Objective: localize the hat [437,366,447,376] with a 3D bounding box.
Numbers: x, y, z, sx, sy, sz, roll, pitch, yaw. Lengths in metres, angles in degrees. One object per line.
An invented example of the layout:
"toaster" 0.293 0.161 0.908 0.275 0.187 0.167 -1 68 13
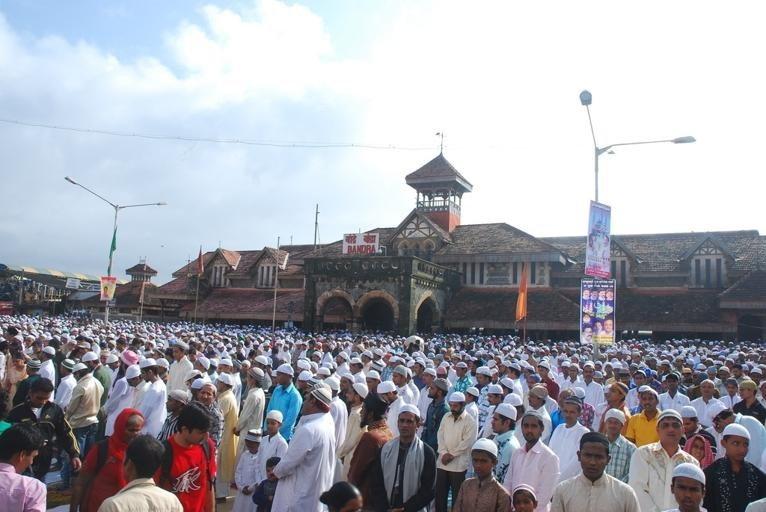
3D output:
"hat" 1.397 2.725 16.566 0.230 0.272 0.305 0 -8 12

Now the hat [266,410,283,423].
"hat" -1.944 2.883 12.640 0.249 0.151 0.249 14 -8 -1

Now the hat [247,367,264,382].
"hat" -2.612 2.413 14.395 0.269 0.318 0.176 -7 -15 -42

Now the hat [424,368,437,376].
"hat" 1.060 2.596 15.705 0.259 0.177 0.343 3 -8 4

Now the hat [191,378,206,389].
"hat" -3.401 2.349 12.908 0.242 0.181 0.336 6 -9 -15

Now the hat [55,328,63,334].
"hat" -11.953 2.756 25.751 0.415 0.213 0.583 -1 -8 -26

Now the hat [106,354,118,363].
"hat" -6.332 2.404 16.430 0.192 0.108 0.207 -3 -5 31

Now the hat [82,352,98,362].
"hat" -6.649 2.288 15.857 0.318 0.225 0.381 7 -9 -20

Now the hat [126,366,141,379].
"hat" -4.868 2.263 13.660 0.264 0.282 0.276 8 -9 -24

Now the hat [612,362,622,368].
"hat" 6.217 2.891 18.533 0.283 0.130 0.390 -1 -10 21

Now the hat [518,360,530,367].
"hat" 3.738 2.858 18.602 0.359 0.106 0.354 1 1 -35

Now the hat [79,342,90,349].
"hat" -7.970 2.373 18.636 0.251 0.129 0.191 21 -9 -25

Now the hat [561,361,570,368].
"hat" 5.093 2.996 19.417 0.327 0.161 0.459 0 -9 15

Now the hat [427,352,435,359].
"hat" 1.516 3.084 21.772 0.280 0.204 0.394 1 -12 3

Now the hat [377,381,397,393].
"hat" 0.078 2.417 12.957 0.286 0.150 0.187 -6 4 -26

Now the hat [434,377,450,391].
"hat" 1.217 2.536 13.797 0.268 0.214 0.402 -3 -11 39

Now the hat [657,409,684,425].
"hat" 4.655 2.626 11.445 0.284 0.150 0.387 11 -11 6

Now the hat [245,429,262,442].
"hat" -2.340 3.223 12.587 0.283 0.103 0.232 3 -8 21

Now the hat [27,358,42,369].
"hat" -6.897 2.135 13.855 0.179 0.162 0.202 21 -18 4

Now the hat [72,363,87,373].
"hat" -6.388 2.355 14.754 0.265 0.212 0.210 8 -9 -25

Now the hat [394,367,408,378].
"hat" 0.404 2.596 15.909 0.314 0.242 0.453 4 -8 2

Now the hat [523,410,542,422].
"hat" 2.486 2.661 11.697 0.294 0.168 0.352 2 -9 14

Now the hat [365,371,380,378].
"hat" -0.229 2.424 14.409 0.227 0.125 0.225 7 -4 -22

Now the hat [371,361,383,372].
"hat" -0.145 2.948 18.682 0.242 0.237 0.309 20 0 -16

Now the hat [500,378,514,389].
"hat" 2.578 2.721 14.651 0.236 0.083 0.262 32 31 17

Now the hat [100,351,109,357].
"hat" -7.131 2.490 17.916 0.181 0.112 0.182 -1 -5 23

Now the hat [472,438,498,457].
"hat" 1.610 2.928 10.732 0.307 0.202 0.315 -4 -28 32

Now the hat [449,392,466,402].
"hat" 1.372 2.622 13.055 0.217 0.119 0.216 3 -12 -9

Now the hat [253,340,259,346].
"hat" -4.616 3.165 25.465 0.280 0.144 0.394 3 -9 -8

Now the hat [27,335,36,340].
"hat" -10.960 2.524 21.781 0.198 0.205 0.247 0 -16 -6

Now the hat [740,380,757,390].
"hat" 7.423 2.605 14.201 0.271 0.191 0.328 0 -9 27

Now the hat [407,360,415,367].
"hat" 0.736 2.870 18.706 0.192 0.208 0.270 9 -17 -43

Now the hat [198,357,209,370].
"hat" -4.143 2.469 16.197 0.232 0.271 0.254 11 -42 -40

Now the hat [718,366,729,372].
"hat" 8.868 2.925 18.151 0.282 0.127 0.403 -5 -14 40

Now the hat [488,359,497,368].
"hat" 3.002 2.939 19.274 0.238 0.155 0.289 0 -13 2

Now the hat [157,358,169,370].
"hat" -4.475 2.187 14.252 0.243 0.127 0.172 16 -2 -2

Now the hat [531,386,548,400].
"hat" 3.049 2.621 13.513 0.302 0.235 0.226 20 5 38

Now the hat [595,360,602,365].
"hat" 6.502 3.218 20.999 0.228 0.074 0.230 -1 -4 21

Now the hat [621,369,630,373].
"hat" 5.567 2.635 16.068 0.198 0.147 0.202 -2 -6 15

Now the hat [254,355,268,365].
"hat" -3.001 2.547 17.176 0.256 0.106 0.264 13 0 34

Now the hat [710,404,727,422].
"hat" 6.082 2.832 12.660 0.165 0.316 0.226 43 -29 0

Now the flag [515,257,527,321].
"flag" 6.261 1.540 31.401 0.306 2.798 0.654 2 5 -12

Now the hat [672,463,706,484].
"hat" 4.346 3.046 9.993 0.346 0.210 0.344 11 -12 -6

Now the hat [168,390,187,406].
"hat" -3.456 2.372 11.832 0.299 0.167 0.298 3 0 -24

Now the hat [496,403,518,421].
"hat" 2.169 2.720 12.290 0.299 0.185 0.303 10 -5 35

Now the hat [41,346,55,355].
"hat" -7.950 2.288 16.660 0.310 0.102 0.282 21 -9 -5

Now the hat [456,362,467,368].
"hat" 1.910 2.610 16.785 0.185 0.066 0.185 2 -5 -1

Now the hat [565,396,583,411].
"hat" 3.421 2.639 12.552 0.293 0.243 0.171 4 -8 3

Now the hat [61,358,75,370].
"hat" -6.674 2.330 14.917 0.282 0.084 0.254 11 -4 1

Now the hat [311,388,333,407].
"hat" -0.995 2.340 11.540 0.208 0.323 0.375 -1 -10 34

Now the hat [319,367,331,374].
"hat" -1.310 2.589 15.790 0.186 0.097 0.185 17 -5 -2

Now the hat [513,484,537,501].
"hat" 2.136 3.543 10.514 0.274 0.180 0.367 -1 -10 29

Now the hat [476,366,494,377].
"hat" 2.300 2.578 15.703 0.318 0.174 0.225 11 -11 -2

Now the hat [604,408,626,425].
"hat" 4.036 2.779 12.081 0.299 0.185 0.302 3 -13 29

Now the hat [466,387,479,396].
"hat" 1.875 2.798 14.504 0.214 0.126 0.215 13 -5 7

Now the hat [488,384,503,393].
"hat" 2.237 2.639 13.893 0.200 0.117 0.200 9 -4 7

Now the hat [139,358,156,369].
"hat" -4.605 2.097 13.718 0.212 0.106 0.210 -4 1 -28

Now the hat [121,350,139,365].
"hat" -5.477 2.152 15.084 0.317 0.162 0.422 9 -3 -40

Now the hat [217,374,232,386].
"hat" -3.173 2.469 14.081 0.235 0.071 0.259 23 -1 -19

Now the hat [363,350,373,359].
"hat" -0.417 2.743 19.401 0.251 0.104 0.263 5 -4 9
